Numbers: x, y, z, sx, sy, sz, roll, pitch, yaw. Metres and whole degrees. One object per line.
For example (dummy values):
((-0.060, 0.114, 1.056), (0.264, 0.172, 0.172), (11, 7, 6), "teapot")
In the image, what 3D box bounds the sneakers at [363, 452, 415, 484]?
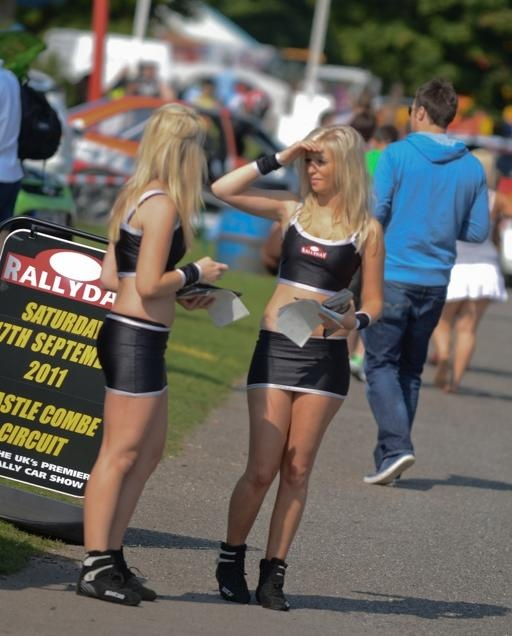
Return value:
((0.815, 0.900, 5.086), (0.146, 0.131, 0.390), (12, -27, -33), "sneakers")

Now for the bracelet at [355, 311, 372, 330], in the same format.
((0.400, 0.017, 3.241), (0.051, 0.033, 0.081), (-16, 3, 21), "bracelet")

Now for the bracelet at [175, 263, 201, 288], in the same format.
((-0.223, -0.150, 2.935), (0.078, 0.054, 0.091), (-2, -2, 10), "bracelet")

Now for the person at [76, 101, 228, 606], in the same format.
((-0.370, 0.168, 3.011), (0.426, 1.791, 0.671), (9, 17, -10), "person")

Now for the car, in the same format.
((-0.911, -3.180, 15.167), (4.958, 1.845, 2.749), (-9, 18, -17), "car")
